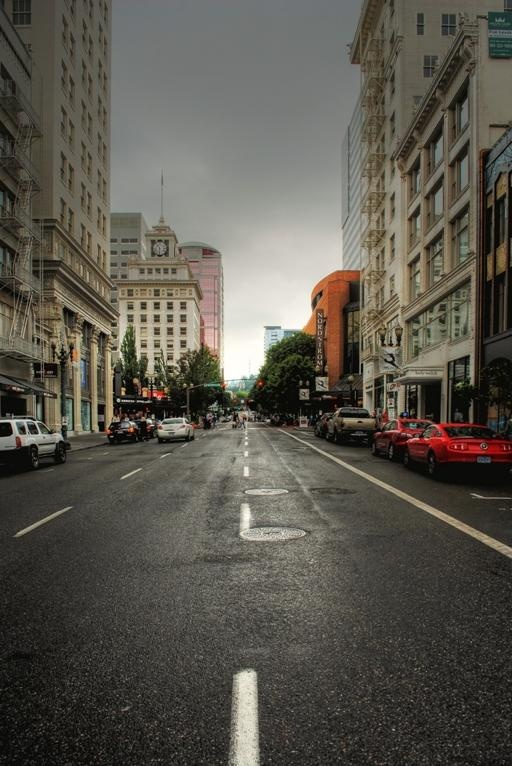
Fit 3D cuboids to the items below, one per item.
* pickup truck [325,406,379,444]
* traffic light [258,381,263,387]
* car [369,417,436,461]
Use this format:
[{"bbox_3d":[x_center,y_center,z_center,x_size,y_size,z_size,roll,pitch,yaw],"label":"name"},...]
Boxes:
[{"bbox_3d":[3.937,1.737,31.613,1.373,1.420,3.485,-1,-3,-3],"label":"pickup truck"},{"bbox_3d":[0.372,0.044,67.039,0.282,0.417,0.621,4,-11,-1],"label":"traffic light"},{"bbox_3d":[3.971,1.556,21.203,0.729,0.784,1.931,0,-1,-6],"label":"car"}]
